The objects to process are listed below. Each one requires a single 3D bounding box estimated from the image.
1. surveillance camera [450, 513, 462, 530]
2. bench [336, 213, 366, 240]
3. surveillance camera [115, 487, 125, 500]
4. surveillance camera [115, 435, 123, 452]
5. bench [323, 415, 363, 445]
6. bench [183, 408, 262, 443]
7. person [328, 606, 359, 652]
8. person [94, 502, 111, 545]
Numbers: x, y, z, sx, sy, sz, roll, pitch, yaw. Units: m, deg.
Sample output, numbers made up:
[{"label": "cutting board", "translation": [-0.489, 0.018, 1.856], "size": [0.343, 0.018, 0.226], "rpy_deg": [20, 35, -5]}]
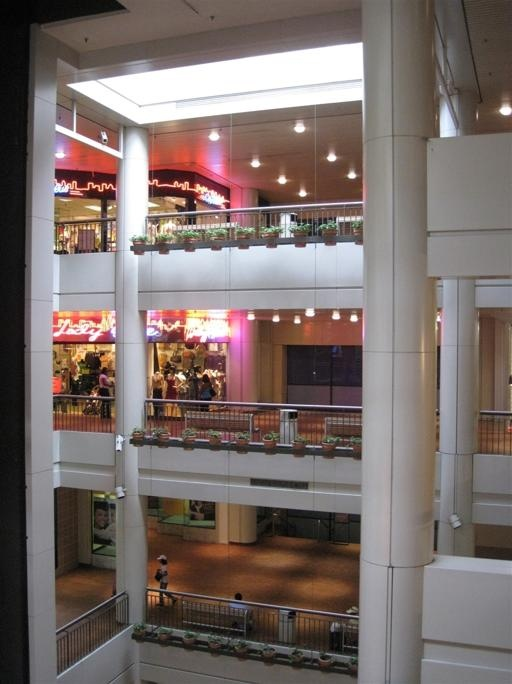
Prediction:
[{"label": "surveillance camera", "translation": [3.682, 3.317, 13.977], "size": [0.148, 0.249, 0.138], "rpy_deg": [-25, 15, 1]}, {"label": "bench", "translation": [1.722, -2.115, 14.075], "size": [0.460, 0.567, 1.111], "rpy_deg": [-1, 2, 6]}, {"label": "surveillance camera", "translation": [-2.822, 3.168, 15.729], "size": [0.166, 0.314, 0.362], "rpy_deg": [-1, 2, 5]}, {"label": "surveillance camera", "translation": [-2.841, 2.119, 15.761], "size": [0.154, 0.329, 0.159], "rpy_deg": [-1, 1, -9]}, {"label": "bench", "translation": [1.646, 1.680, 14.426], "size": [0.710, 0.455, 0.990], "rpy_deg": [-2, 2, 6]}, {"label": "bench", "translation": [-0.731, 1.690, 15.870], "size": [1.217, 0.579, 0.500], "rpy_deg": [5, 19, 18]}, {"label": "person", "translation": [1.728, 5.666, 14.929], "size": [0.724, 0.468, 0.740], "rpy_deg": [1, -4, -43]}, {"label": "person", "translation": [-4.207, 5.008, 20.750], "size": [0.192, 0.977, 0.848], "rpy_deg": [-1, 8, -36]}]
